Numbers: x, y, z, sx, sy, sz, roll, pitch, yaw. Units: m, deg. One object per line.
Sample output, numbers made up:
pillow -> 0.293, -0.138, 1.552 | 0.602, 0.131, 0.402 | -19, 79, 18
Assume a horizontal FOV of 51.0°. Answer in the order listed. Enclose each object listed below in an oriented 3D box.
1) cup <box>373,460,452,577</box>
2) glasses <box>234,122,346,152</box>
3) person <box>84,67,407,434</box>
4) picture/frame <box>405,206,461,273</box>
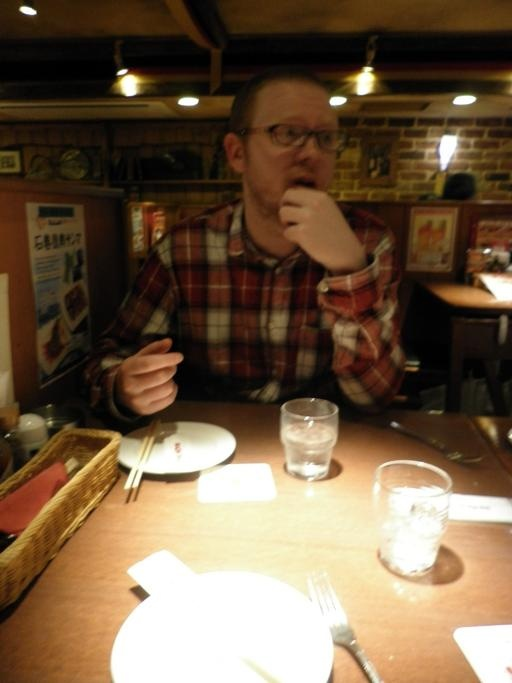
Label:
cup -> 0.200, 0.223, 0.749 | 0.131, 0.123, 0.114 | -10, 16, -42
glasses -> 0.071, -0.501, 1.340 | 0.256, 0.063, 0.123 | 0, 16, 2
person -> -0.024, -0.137, 1.366 | 0.681, 0.945, 0.561 | 2, 14, -9
picture/frame -> 1.028, -0.587, 3.158 | 0.263, 0.379, 0.052 | -1, 18, -1
